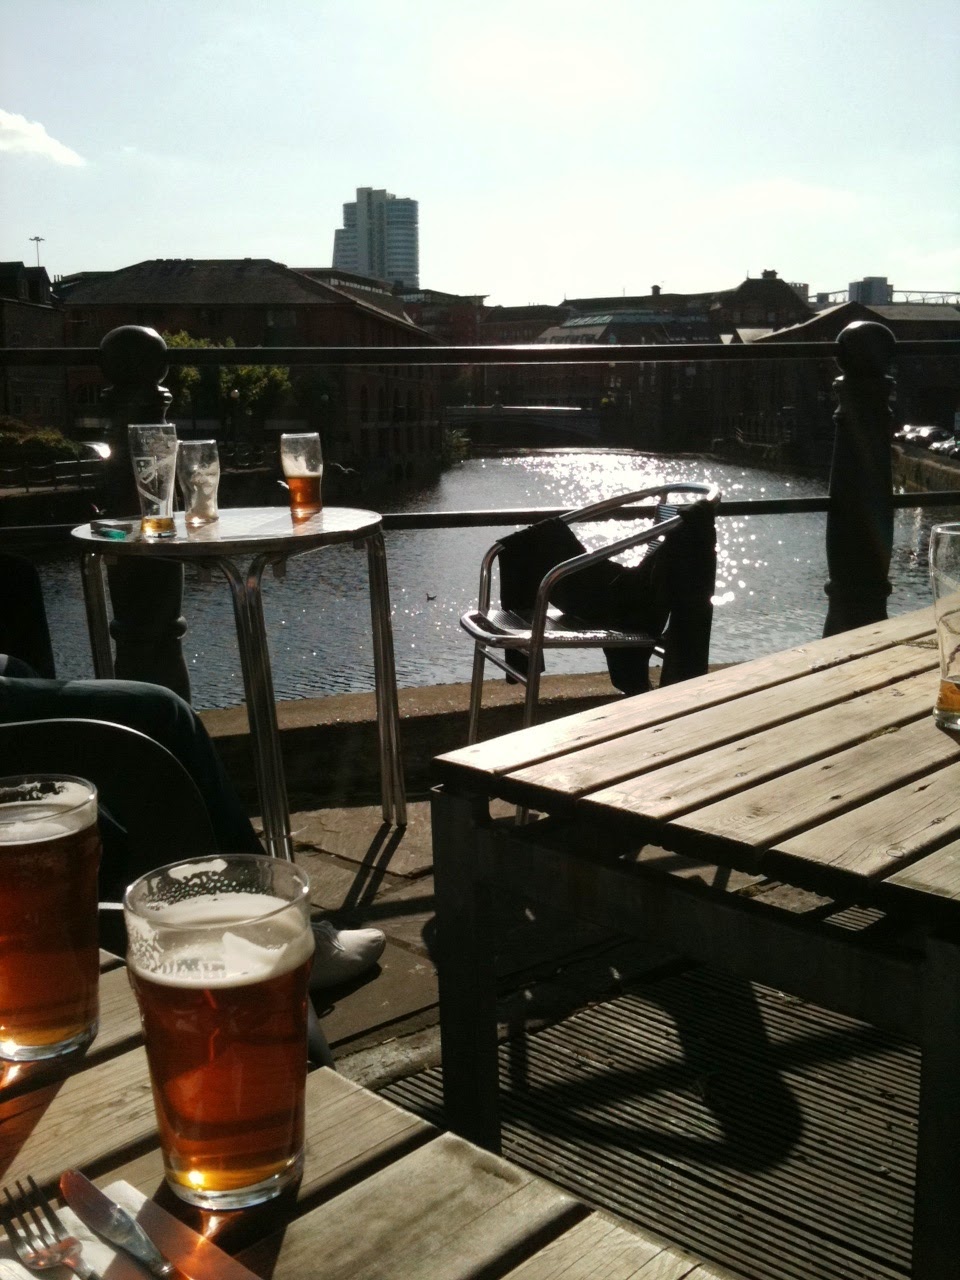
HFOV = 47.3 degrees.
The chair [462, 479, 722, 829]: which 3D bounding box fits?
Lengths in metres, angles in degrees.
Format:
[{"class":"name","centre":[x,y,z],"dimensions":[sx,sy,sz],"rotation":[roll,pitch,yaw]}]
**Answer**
[{"class":"chair","centre":[0.264,-0.027,2.536],"dimensions":[0.636,0.835,0.649],"rotation":[-2,7,-22]}]
